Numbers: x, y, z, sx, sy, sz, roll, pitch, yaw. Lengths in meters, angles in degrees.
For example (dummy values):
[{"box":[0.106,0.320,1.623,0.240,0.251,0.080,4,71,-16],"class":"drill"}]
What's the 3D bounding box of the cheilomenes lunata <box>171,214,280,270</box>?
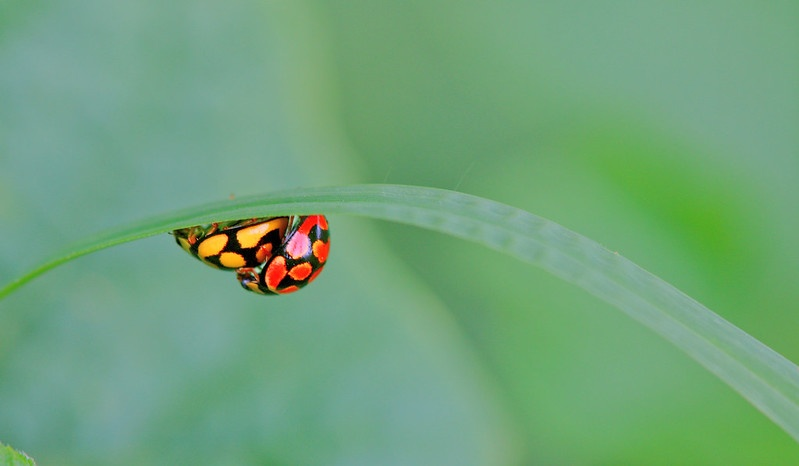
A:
[{"box":[-0.217,0.008,0.904,0.102,0.033,0.085,-6,-27,-20],"class":"cheilomenes lunata"}]
